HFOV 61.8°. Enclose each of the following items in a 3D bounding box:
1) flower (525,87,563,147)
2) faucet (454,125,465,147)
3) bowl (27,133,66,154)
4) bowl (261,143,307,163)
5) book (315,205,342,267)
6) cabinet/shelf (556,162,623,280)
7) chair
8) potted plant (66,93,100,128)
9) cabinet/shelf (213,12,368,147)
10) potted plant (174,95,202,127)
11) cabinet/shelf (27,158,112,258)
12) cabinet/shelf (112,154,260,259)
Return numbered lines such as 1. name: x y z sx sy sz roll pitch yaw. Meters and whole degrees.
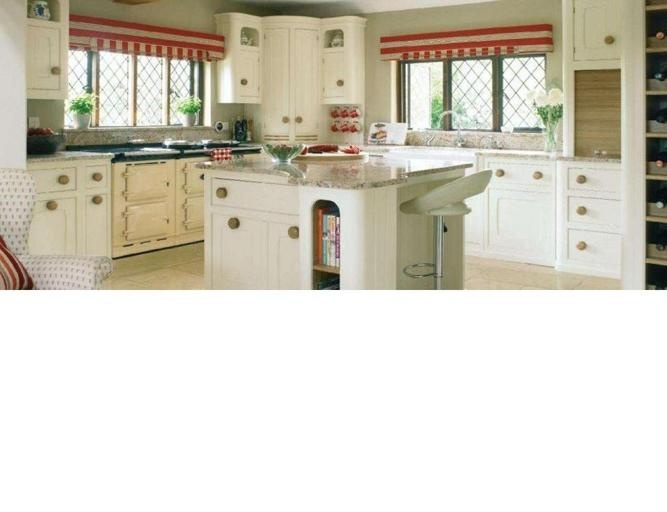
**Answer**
1. flower: 2.006 -1.242 5.282 0.403 0.470 0.389 0 5 7
2. faucet: 1.454 -1.395 6.452 0.105 0.269 0.497 2 11 12
3. bowl: -2.392 -0.931 4.663 0.148 0.179 0.350 4 11 21
4. bowl: -0.327 -0.650 3.571 0.239 0.107 0.132 -1 10 -6
5. book: -0.045 -0.103 3.161 0.135 0.332 0.165 -1 10 -6
6. cabinet/shelf: 2.105 -0.316 4.627 0.161 0.972 0.516 -9 13 -43
7. chair: 0.677 -0.131 3.419 0.498 0.794 0.657 2 10 12
8. potted plant: -2.531 -1.431 5.583 0.391 0.340 0.386 -3 10 -41
9. cabinet/shelf: -0.551 -2.185 6.939 1.784 1.500 0.412 -2 10 -11
10. potted plant: -1.751 -1.731 6.727 0.437 0.375 0.357 -2 6 -6
11. cabinet/shelf: -2.188 -0.398 4.652 0.219 0.881 0.760 4 11 20
12. cabinet/shelf: -1.306 -0.415 4.624 0.396 0.618 1.124 3 7 26
